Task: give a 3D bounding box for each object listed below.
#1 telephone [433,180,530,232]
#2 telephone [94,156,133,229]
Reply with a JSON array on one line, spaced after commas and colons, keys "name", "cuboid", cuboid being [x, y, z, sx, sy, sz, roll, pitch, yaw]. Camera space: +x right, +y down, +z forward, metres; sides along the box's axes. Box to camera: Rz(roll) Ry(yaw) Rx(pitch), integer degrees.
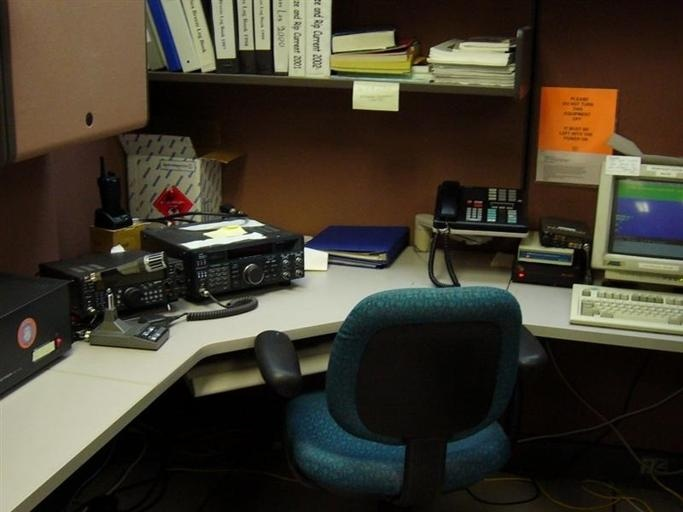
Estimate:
[{"name": "telephone", "cuboid": [0.499, -0.179, 2.044, 0.321, 0.136, 0.163, 3, 25, 9]}, {"name": "telephone", "cuboid": [-0.872, -0.244, 2.114, 0.130, 0.247, 0.242, -13, 27, -23]}]
